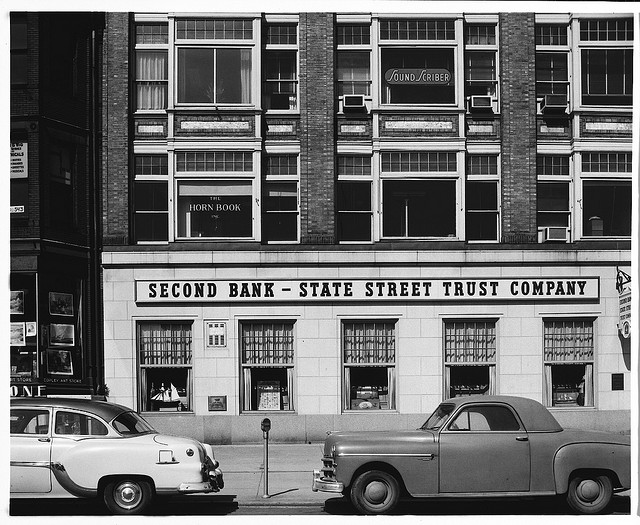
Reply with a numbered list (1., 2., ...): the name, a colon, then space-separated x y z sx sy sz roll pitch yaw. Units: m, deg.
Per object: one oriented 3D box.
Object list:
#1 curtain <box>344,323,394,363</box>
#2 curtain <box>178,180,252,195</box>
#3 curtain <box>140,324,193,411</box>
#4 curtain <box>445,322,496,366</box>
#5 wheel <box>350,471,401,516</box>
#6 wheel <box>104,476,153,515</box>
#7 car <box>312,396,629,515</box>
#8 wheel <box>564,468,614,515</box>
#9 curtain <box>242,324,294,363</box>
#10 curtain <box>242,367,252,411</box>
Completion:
1. curtain: 1.332 2.166 53.980 1.226 1.081 0.294 0 -4 -6
2. curtain: -2.882 -2.027 54.512 1.996 0.403 0.215 2 -34 2
3. curtain: -4.141 2.821 53.926 1.539 2.279 0.188 -1 -7 15
4. curtain: 4.033 2.263 54.046 1.164 1.000 0.121 1 -6 -5
5. wheel: 1.284 5.360 46.794 1.028 1.032 0.402 -2 0 -2
6. wheel: -4.498 5.396 46.574 0.909 0.786 0.296 0 -3 -3
7. car: 3.587 4.473 48.133 7.536 2.646 2.972 1 -11 1
8. wheel: 6.321 5.328 46.900 0.991 0.996 0.349 -7 -4 -1
9. curtain: -1.464 2.210 53.829 1.189 1.093 0.351 0 -5 -17
10. curtain: -1.916 3.467 54.014 0.248 1.111 0.125 1 0 30
